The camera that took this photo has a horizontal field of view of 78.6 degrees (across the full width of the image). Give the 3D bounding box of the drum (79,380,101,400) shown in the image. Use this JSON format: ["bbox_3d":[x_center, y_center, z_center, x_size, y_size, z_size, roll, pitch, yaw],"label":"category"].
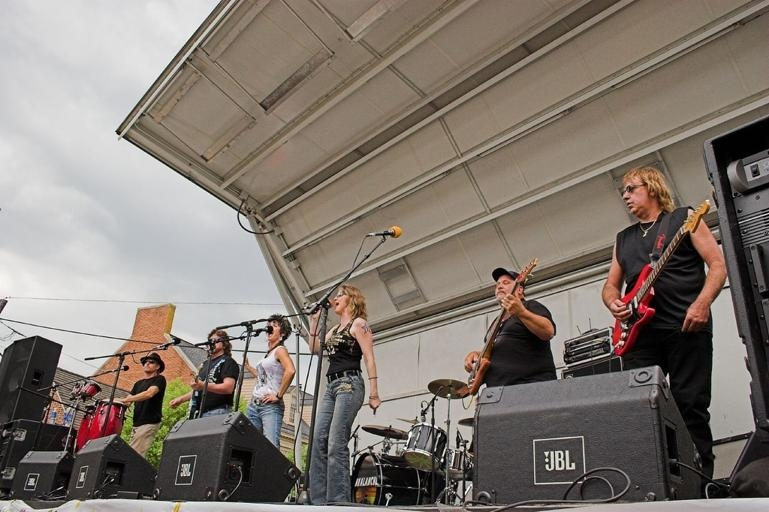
[{"bbox_3d":[-3.972,1.819,6.310,0.204,0.235,0.351,14,-31,-17],"label":"drum"}]

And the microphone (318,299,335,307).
[{"bbox_3d":[-0.518,0.418,4.126,0.082,0.036,0.100,7,-24,-33],"label":"microphone"}]

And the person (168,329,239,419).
[{"bbox_3d":[-1.776,1.241,4.826,0.572,0.982,1.218,16,-32,-20],"label":"person"}]

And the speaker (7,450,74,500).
[{"bbox_3d":[-3.767,2.407,5.175,0.882,0.499,0.271,-16,-36,30],"label":"speaker"}]

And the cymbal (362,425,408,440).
[{"bbox_3d":[0.009,2.425,6.427,0.537,0.123,0.527,-2,-33,23],"label":"cymbal"}]

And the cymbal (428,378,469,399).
[{"bbox_3d":[0.818,1.815,6.232,0.457,0.248,0.686,1,-30,3],"label":"cymbal"}]

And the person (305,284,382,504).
[{"bbox_3d":[-0.353,1.053,3.928,0.624,1.854,0.737,8,-31,-7],"label":"person"}]

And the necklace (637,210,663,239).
[{"bbox_3d":[1.860,-0.213,3.284,0.046,0.171,0.125,28,-7,1],"label":"necklace"}]

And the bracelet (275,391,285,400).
[{"bbox_3d":[-1.025,1.387,4.629,0.050,0.097,0.129,37,-29,-19],"label":"bracelet"}]

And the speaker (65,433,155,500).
[{"bbox_3d":[-2.599,2.013,4.431,0.708,0.724,0.931,12,-25,-40],"label":"speaker"}]

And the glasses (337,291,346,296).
[{"bbox_3d":[-0.393,0.346,4.274,0.054,0.047,0.048,-14,-30,35],"label":"glasses"}]

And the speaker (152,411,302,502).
[{"bbox_3d":[-1.228,1.495,3.763,0.954,0.693,0.800,-22,-30,33],"label":"speaker"}]

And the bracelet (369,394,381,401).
[{"bbox_3d":[-0.080,1.165,3.876,0.087,0.031,0.063,22,-28,-9],"label":"bracelet"}]

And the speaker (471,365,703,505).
[{"bbox_3d":[1.069,0.780,2.417,0.824,0.499,0.825,-26,-32,35],"label":"speaker"}]
